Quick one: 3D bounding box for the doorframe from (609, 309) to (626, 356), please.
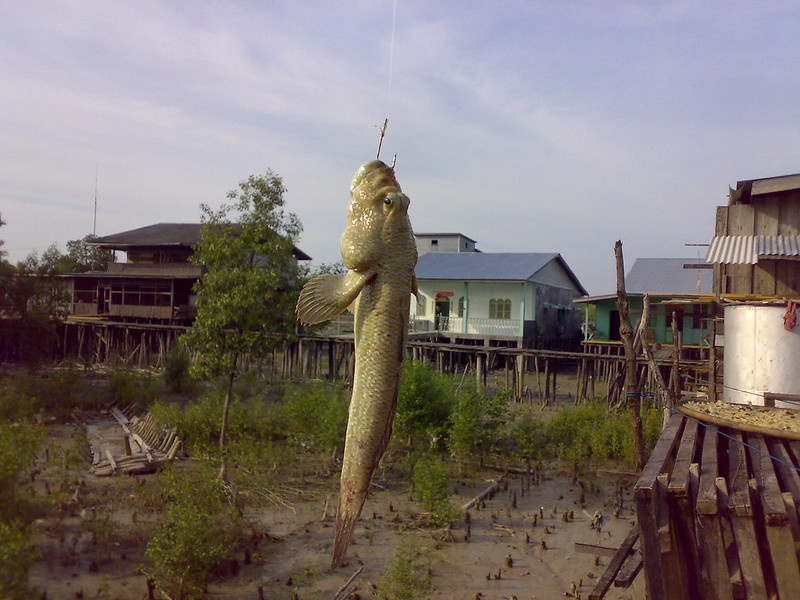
[{"bbox_3d":[7.004,1.108,25.345,0.590,1.701,0.514,-6,-23,41],"label":"doorframe"}]

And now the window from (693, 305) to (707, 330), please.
[{"bbox_3d":[10.063,0.577,26.298,0.321,0.843,0.338,24,-7,-11],"label":"window"}]

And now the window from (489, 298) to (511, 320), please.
[{"bbox_3d":[4.296,0.404,33.394,0.795,0.797,0.076,1,-2,39],"label":"window"}]

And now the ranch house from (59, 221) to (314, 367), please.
[{"bbox_3d":[-6.867,0.113,24.148,4.870,2.537,7.018,4,7,34],"label":"ranch house"}]

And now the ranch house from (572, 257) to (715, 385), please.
[{"bbox_3d":[10.000,0.807,31.167,5.329,3.260,5.489,1,3,17],"label":"ranch house"}]
